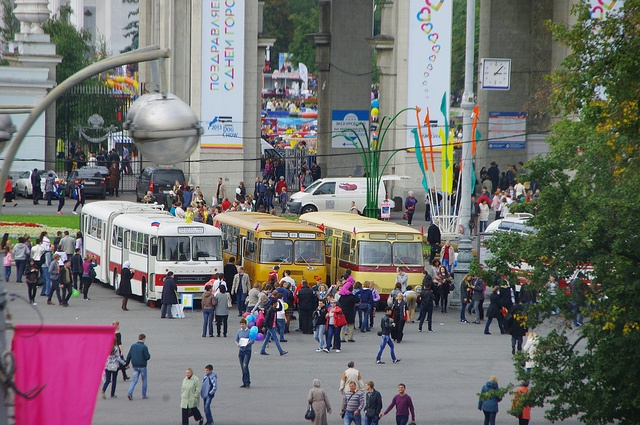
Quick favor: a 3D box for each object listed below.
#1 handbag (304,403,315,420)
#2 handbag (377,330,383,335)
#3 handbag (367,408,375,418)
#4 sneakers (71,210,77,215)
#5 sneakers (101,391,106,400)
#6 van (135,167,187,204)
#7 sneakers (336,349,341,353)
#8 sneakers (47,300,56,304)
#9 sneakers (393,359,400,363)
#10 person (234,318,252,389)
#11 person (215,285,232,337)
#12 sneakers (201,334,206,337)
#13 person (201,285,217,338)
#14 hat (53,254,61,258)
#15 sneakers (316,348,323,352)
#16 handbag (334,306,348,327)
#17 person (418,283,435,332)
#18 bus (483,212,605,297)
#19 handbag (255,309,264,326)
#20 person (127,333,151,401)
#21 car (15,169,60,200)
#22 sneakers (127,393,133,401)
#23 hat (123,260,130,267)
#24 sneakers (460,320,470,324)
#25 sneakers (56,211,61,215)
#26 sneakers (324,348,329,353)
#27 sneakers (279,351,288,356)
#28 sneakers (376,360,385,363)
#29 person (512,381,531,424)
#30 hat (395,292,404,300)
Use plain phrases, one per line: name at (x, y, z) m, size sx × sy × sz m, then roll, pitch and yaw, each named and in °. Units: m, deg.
handbag at (-0.447, 8.044, 63.936) m, size 0.357 × 0.698 × 0.493 m, roll 0°, pitch 3°, yaw -15°
handbag at (2.625, 5.316, 70.058) m, size 0.260 × 0.102 × 0.236 m, roll -4°, pitch -3°, yaw -41°
handbag at (2.060, 8.083, 64.332) m, size 0.364 × 0.519 × 0.262 m, roll 3°, pitch 8°, yaw 0°
sneakers at (-14.039, 0.025, 90.471) m, size 0.131 × 0.166 × 0.386 m, roll 10°, pitch -3°, yaw -38°
sneakers at (-9.059, 7.609, 66.168) m, size 0.203 × 0.399 × 0.232 m, roll -4°, pitch 7°, yaw -39°
van at (-9.638, -1.657, 94.104) m, size 1.628 × 1.427 × 3.021 m, roll -1°, pitch 10°, yaw -20°
sneakers at (0.794, 6.141, 70.643) m, size 0.268 × 0.119 × 0.228 m, roll 1°, pitch 3°, yaw -7°
sneakers at (-12.824, 4.265, 75.207) m, size 0.328 × 0.143 × 0.116 m, roll 4°, pitch 0°, yaw 9°
sneakers at (3.409, 6.468, 69.410) m, size 0.460 × 0.129 × 0.177 m, roll -2°, pitch 4°, yaw -44°
person at (-3.239, 5.926, 67.240) m, size 0.664 × 2.763 × 1.316 m, roll 1°, pitch 3°, yaw -3°
person at (-4.457, 4.430, 72.104) m, size 0.641 × 2.337 × 0.852 m, roll 1°, pitch 3°, yaw 2°
sneakers at (-5.254, 5.550, 71.669) m, size 0.141 × 0.130 × 0.247 m, roll 1°, pitch 3°, yaw -5°
person at (-5.057, 4.437, 71.995) m, size 0.602 × 2.302 × 0.862 m, roll 1°, pitch 3°, yaw -4°
hat at (-12.453, 2.024, 74.936) m, size 0.211 × 0.189 × 0.401 m, roll 2°, pitch 3°, yaw 5°
sneakers at (-0.033, 6.107, 70.727) m, size 0.278 × 0.187 × 0.360 m, roll 1°, pitch 3°, yaw -1°
handbag at (0.898, 4.657, 70.893) m, size 0.498 × 0.955 × 0.895 m, roll 3°, pitch 4°, yaw 21°
person at (4.962, 4.349, 73.757) m, size 0.705 × 2.276 × 0.688 m, roll 1°, pitch 2°, yaw 2°
bus at (9.100, 1.799, 75.134) m, size 2.601 × 3.523 × 7.400 m, roll -1°, pitch 5°, yaw -15°
handbag at (-2.649, 4.676, 69.681) m, size 0.174 × 0.527 × 0.379 m, roll 9°, pitch 3°, yaw -15°
person at (-7.590, 6.386, 65.999) m, size 0.885 × 2.650 × 0.956 m, roll 1°, pitch 3°, yaw -8°
car at (-17.402, -1.742, 96.071) m, size 1.497 × 1.218 × 2.697 m, roll -3°, pitch 10°, yaw -36°
sneakers at (-7.901, 7.615, 65.711) m, size 0.111 × 0.356 × 0.163 m, roll -1°, pitch 15°, yaw -3°
hat at (-9.244, 2.437, 74.922) m, size 0.289 × 0.236 × 0.397 m, roll 1°, pitch 1°, yaw 11°
sneakers at (6.852, 5.143, 74.845) m, size 0.409 × 0.185 × 0.145 m, roll 1°, pitch 0°, yaw -1°
sneakers at (-14.835, 0.007, 89.937) m, size 0.323 × 0.154 × 0.118 m, roll 3°, pitch 2°, yaw -14°
sneakers at (0.273, 6.114, 70.634) m, size 0.294 × 0.181 × 0.180 m, roll 2°, pitch 3°, yaw 13°
sneakers at (-1.632, 6.161, 70.137) m, size 0.336 × 0.253 × 0.119 m, roll -23°, pitch 29°, yaw -12°
sneakers at (2.639, 6.485, 69.266) m, size 0.336 × 0.152 × 0.117 m, roll -1°, pitch 9°, yaw -19°
person at (8.225, 7.747, 64.716) m, size 0.715 × 1.753 × 0.598 m, roll 1°, pitch 3°, yaw 3°
hat at (3.638, 3.798, 71.947) m, size 0.347 × 0.302 × 0.583 m, roll 1°, pitch 3°, yaw 1°
